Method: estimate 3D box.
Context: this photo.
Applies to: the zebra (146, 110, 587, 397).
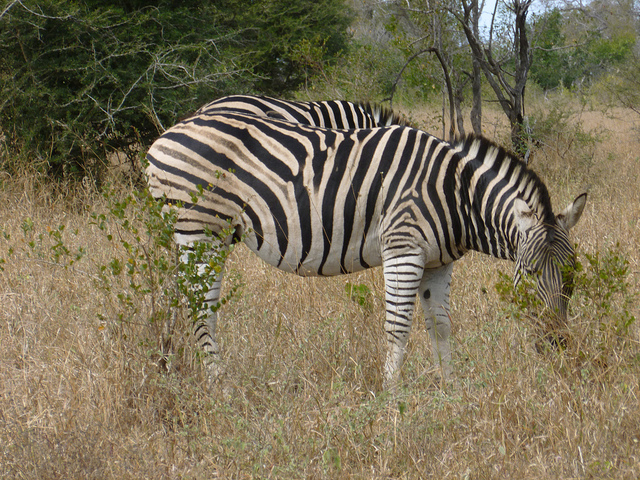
[{"bbox_3d":[0.333,0.042,6.803,3.678,2.323,1.335,11,21,7],"label":"zebra"}]
